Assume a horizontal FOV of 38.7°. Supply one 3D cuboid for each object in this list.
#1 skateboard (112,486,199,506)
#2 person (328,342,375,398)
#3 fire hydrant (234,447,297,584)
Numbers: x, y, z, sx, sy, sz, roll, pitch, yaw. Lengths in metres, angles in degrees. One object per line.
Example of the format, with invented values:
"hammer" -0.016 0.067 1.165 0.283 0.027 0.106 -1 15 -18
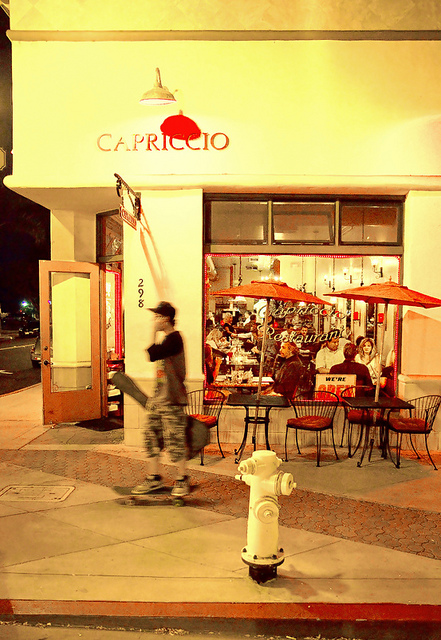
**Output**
"skateboard" -0.695 1.809 6.642 0.858 0.138 0.293 2 0 -4
"person" 2.037 0.739 9.745 0.653 0.821 0.485 1 3 2
"fire hydrant" 0.321 1.470 4.832 0.415 0.991 0.427 1 -1 -4
